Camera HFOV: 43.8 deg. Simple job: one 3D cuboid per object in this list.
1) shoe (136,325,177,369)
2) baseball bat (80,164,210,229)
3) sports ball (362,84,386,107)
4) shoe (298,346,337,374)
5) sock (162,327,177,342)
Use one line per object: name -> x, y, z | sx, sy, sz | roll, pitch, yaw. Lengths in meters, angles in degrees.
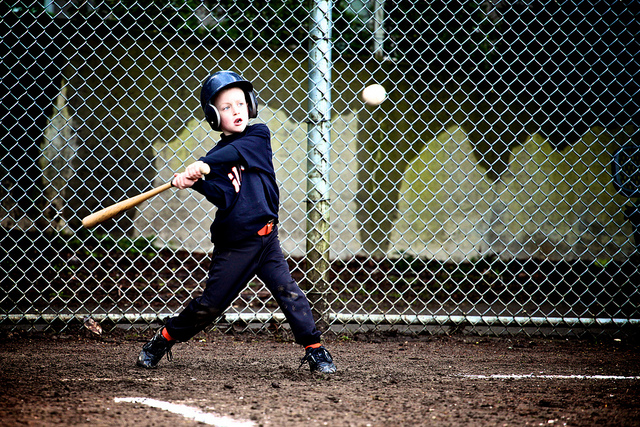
shoe -> -1.407, 1.189, 6.879 | 0.227, 0.192, 0.549 | -7, 34, 21
baseball bat -> -1.487, -0.136, 6.602 | 1.310, 0.178, 0.168 | -23, 6, 19
sports ball -> 0.687, -1.526, 10.215 | 0.280, 0.251, 0.249 | -26, -25, -18
shoe -> 0.000, 1.269, 6.881 | 0.212, 0.212, 0.418 | -4, 13, -40
sock -> -1.309, 1.058, 6.893 | 0.067, 0.101, 0.060 | -14, -5, -28
